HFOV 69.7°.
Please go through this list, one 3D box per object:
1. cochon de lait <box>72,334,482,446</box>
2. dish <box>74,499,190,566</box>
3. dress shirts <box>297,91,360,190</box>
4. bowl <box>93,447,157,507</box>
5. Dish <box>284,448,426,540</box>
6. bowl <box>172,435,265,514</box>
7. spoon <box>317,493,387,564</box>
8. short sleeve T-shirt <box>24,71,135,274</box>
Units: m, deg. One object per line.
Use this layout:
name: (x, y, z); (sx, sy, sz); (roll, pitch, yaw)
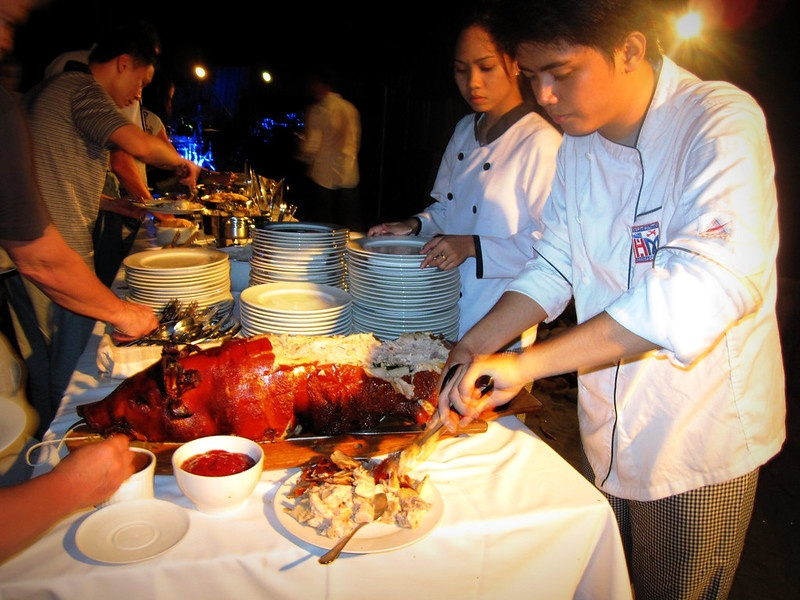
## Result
cochon de lait: (-0.392, 0.258, 2.100); (1.311, 0.308, 0.448); (-7, 11, -18)
dish: (-0.721, 0.628, 1.561); (0.273, 0.074, 0.182); (-5, 18, -25)
dress shirts: (-0.874, -2.090, 7.464); (0.745, 1.125, 0.963); (19, 34, 27)
bowl: (-0.762, 0.521, 1.669); (0.151, 0.153, 0.147); (6, 17, -2)
Dish: (-0.125, 0.572, 1.664); (0.247, 0.069, 0.225); (0, 19, -8)
bowl: (-0.529, 0.505, 1.683); (0.236, 0.134, 0.228); (7, 7, -1)
spoon: (-0.129, 0.640, 1.583); (0.072, 0.048, 0.338); (-15, 11, 33)
short sleeve T-shirt: (-2.025, -0.845, 3.616); (0.433, 1.021, 1.203); (-11, 14, -41)
